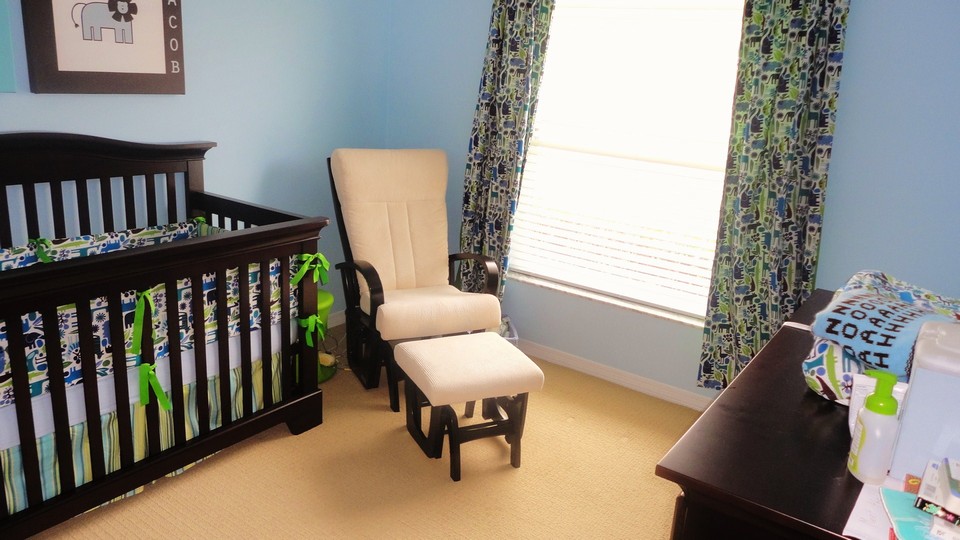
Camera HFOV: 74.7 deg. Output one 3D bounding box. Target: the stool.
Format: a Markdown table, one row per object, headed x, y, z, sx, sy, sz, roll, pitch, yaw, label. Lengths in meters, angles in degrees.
| x | y | z | sx | sy | sz | roll | pitch | yaw | label |
| --- | --- | --- | --- | --- | --- | --- | --- | --- | --- |
| -0.086 | 0.674 | 3.773 | 0.813 | 0.698 | 0.831 | -9 | 22 | -23 | stool |
